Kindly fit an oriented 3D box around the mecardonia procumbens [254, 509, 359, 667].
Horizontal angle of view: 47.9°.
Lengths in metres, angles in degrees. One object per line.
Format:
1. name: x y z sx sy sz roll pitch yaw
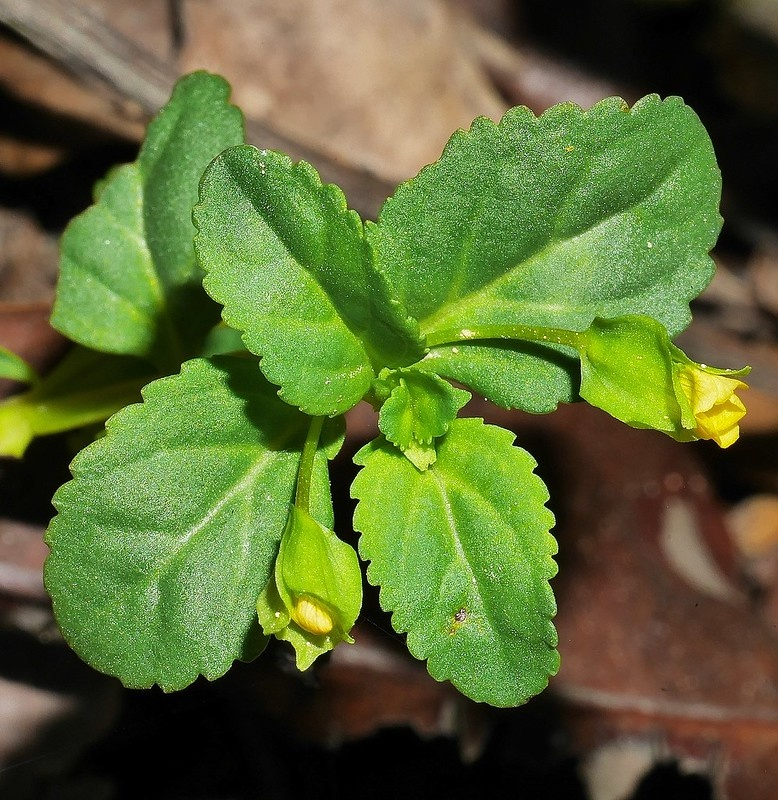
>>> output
1. mecardonia procumbens: -0.053 0.134 0.655 0.087 0.055 0.116 -10 87 5
